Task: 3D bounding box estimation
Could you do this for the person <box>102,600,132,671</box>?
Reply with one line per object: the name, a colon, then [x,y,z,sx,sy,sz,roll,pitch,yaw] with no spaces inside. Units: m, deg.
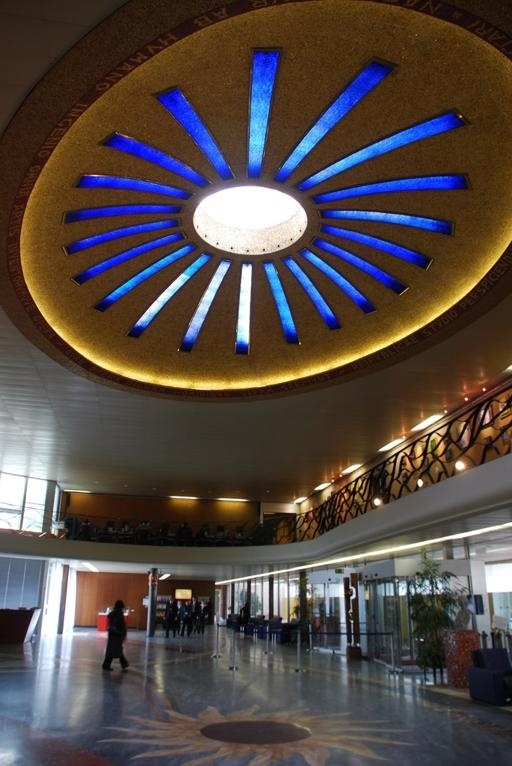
person: [-3.378,6.118,12.033,0.552,1.582,2.573,5,-20,-13]
